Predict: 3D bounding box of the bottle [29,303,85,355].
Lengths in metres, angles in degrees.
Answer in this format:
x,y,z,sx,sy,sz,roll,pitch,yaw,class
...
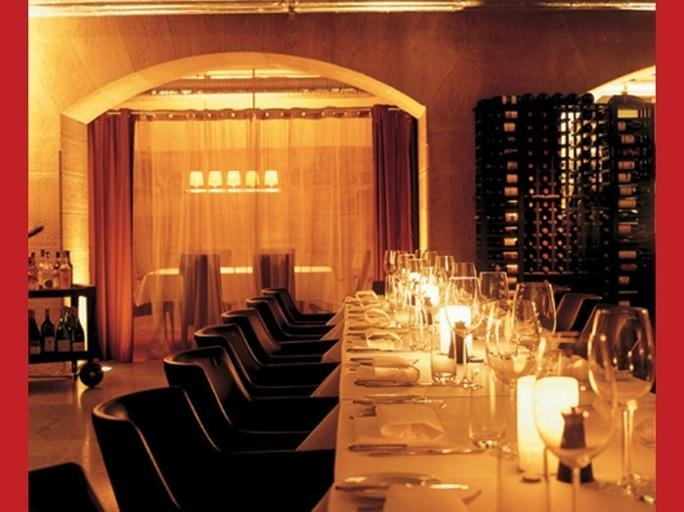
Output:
x,y,z,sx,sy,sz,roll,pitch,yaw,class
-2.463,0.644,6.170,0.423,0.499,0.158,0,-7,-12,bottle

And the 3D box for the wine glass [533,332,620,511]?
x,y,z,sx,sy,sz,roll,pitch,yaw,class
0.442,0.320,1.341,0.137,0.319,0.227,0,0,22,wine glass

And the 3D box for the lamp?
x,y,z,sx,sy,sz,roll,pitch,yaw,class
-1.257,-1.495,8.147,1.064,1.545,1.133,0,0,0,lamp
